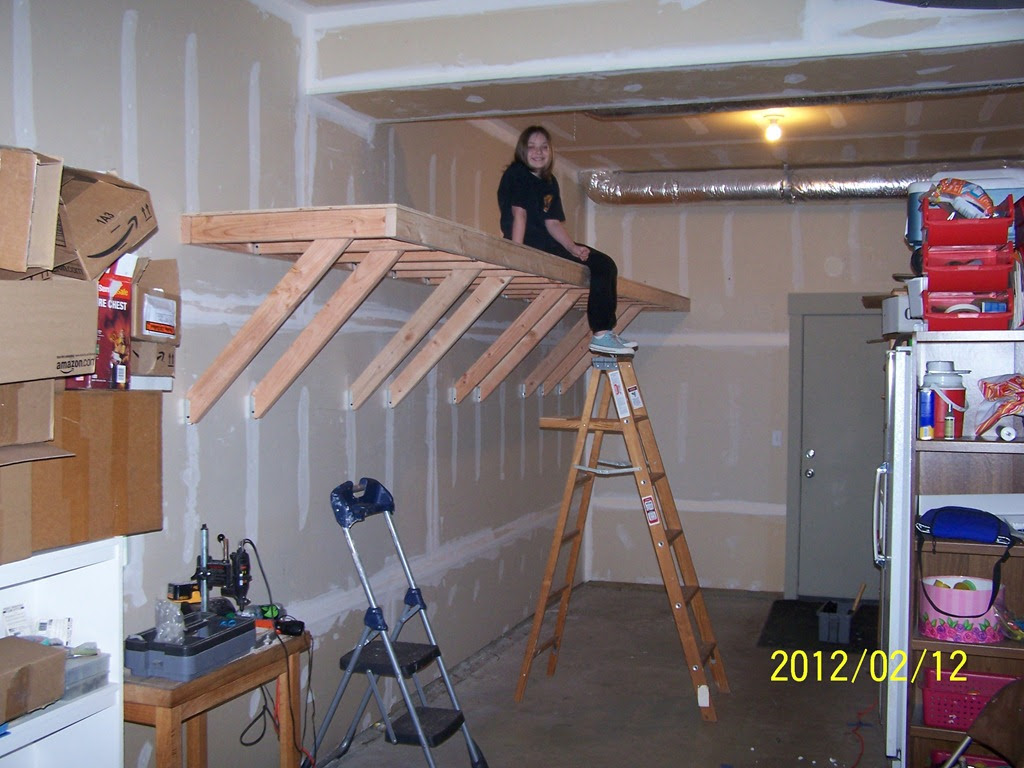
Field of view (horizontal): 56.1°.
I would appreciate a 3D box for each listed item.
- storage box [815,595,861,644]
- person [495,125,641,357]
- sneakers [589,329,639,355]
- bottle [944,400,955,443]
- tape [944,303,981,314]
[{"bbox_3d":[2.354,1.707,6.925,0.210,0.174,0.434,-2,-6,23],"label":"storage box"},{"bbox_3d":[0.297,-0.886,5.746,0.699,1.424,0.962,-4,5,-17],"label":"person"},{"bbox_3d":[0.581,-0.230,5.544,0.252,0.145,0.262,-2,5,4],"label":"sneakers"},{"bbox_3d":[1.881,0.153,4.115,0.042,0.151,0.041,-2,5,0],"label":"bottle"},{"bbox_3d":[1.928,-0.323,4.097,0.134,0.047,0.040,0,5,21],"label":"tape"}]
